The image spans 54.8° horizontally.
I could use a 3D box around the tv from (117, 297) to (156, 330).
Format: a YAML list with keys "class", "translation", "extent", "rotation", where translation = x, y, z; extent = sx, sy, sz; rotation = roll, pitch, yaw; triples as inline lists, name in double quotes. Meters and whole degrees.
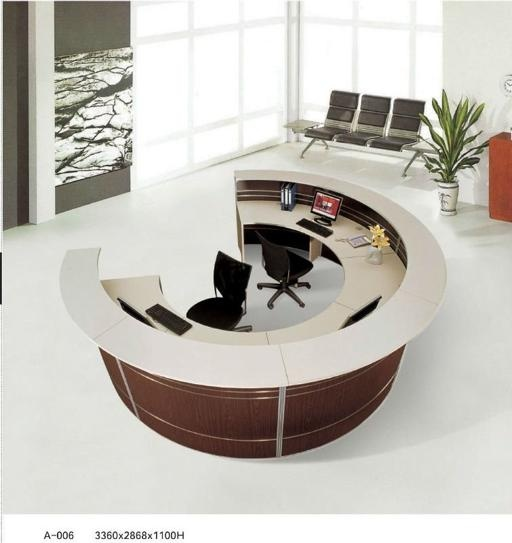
- class: "tv"
  translation: [-0.828, 0.298, 3.448]
  extent: [0.240, 0.196, 0.320]
  rotation: [-3, 11, -17]

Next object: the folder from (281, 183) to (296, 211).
- class: "folder"
  translation: [0.359, -0.823, 5.434]
  extent: [0.108, 0.230, 0.230]
  rotation: [1, 23, 6]

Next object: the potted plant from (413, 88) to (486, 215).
- class: "potted plant"
  translation: [2.603, -1.456, 6.499]
  extent: [0.697, 1.450, 0.848]
  rotation: [-4, 11, -28]

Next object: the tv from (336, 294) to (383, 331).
- class: "tv"
  translation: [0.716, 0.289, 3.410]
  extent: [0.503, 0.215, 0.053]
  rotation: [-12, -23, -42]

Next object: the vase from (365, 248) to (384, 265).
- class: "vase"
  translation: [1.062, -0.153, 4.391]
  extent: [0.144, 0.146, 0.292]
  rotation: [3, 11, 14]

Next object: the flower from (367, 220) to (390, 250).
- class: "flower"
  translation: [1.082, -0.320, 4.335]
  extent: [0.172, 0.272, 0.082]
  rotation: [-10, -30, 5]
